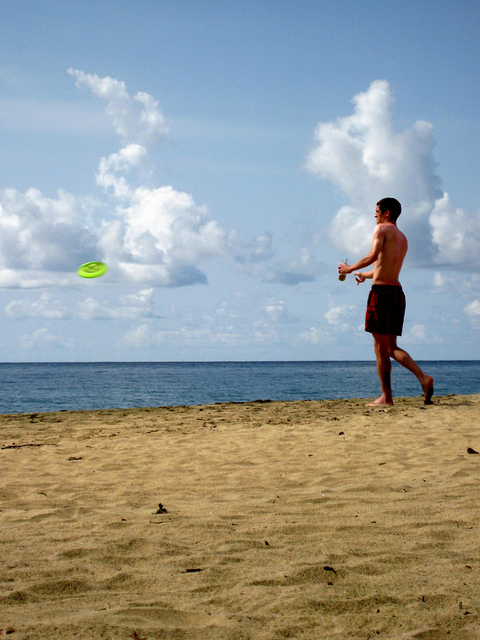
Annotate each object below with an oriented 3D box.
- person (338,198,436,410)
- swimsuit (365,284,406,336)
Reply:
[{"bbox_3d":[1.743,-0.174,9.178,0.932,2.463,0.867,-2,-4,13],"label":"person"},{"bbox_3d":[1.595,-0.115,8.631,0.537,0.695,0.407,4,-2,-2],"label":"swimsuit"}]
